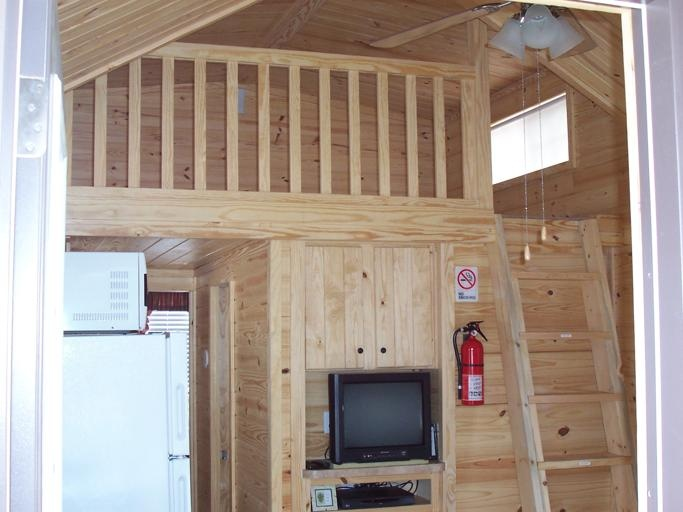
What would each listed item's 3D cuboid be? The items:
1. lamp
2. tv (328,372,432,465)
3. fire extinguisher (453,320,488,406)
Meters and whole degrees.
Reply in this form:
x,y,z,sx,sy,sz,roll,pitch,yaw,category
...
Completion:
x,y,z,sx,sy,sz,roll,pitch,yaw,category
0.960,-1.104,3.457,0.451,0.248,0.499,2,0,-27,lamp
0.246,0.938,4.051,0.602,0.508,0.133,-1,-16,-15,tv
0.791,0.637,4.160,0.239,0.506,0.169,-8,-15,6,fire extinguisher
